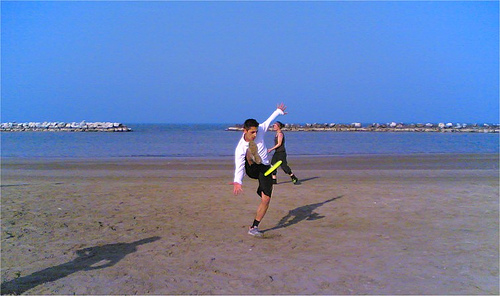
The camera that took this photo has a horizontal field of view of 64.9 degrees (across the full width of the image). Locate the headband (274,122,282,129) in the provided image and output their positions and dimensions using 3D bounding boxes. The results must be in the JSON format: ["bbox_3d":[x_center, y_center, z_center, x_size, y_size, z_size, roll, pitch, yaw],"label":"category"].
[{"bbox_3d":[1.053,-0.844,14.532,0.251,0.237,0.350,1,4,7],"label":"headband"}]
